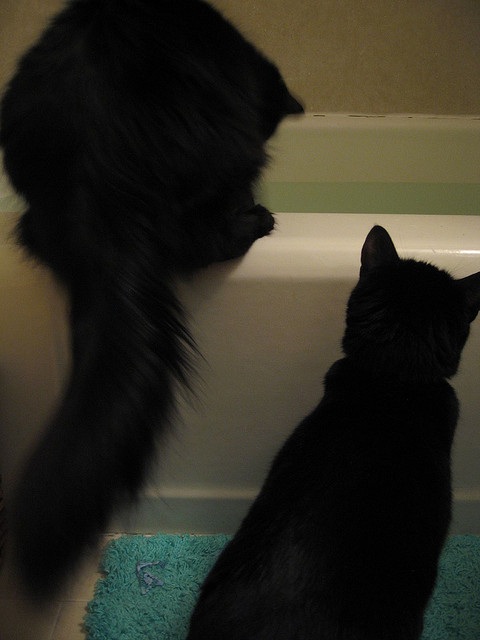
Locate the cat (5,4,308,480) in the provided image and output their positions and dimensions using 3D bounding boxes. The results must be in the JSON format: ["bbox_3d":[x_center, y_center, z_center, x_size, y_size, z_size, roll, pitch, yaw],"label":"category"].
[{"bbox_3d":[-0.102,-0.092,1.090,0.497,0.306,0.643,5,70,2],"label":"cat"}]

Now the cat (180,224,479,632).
[{"bbox_3d":[0.128,0.124,0.895,0.187,0.517,0.300,30,-4,20],"label":"cat"}]
